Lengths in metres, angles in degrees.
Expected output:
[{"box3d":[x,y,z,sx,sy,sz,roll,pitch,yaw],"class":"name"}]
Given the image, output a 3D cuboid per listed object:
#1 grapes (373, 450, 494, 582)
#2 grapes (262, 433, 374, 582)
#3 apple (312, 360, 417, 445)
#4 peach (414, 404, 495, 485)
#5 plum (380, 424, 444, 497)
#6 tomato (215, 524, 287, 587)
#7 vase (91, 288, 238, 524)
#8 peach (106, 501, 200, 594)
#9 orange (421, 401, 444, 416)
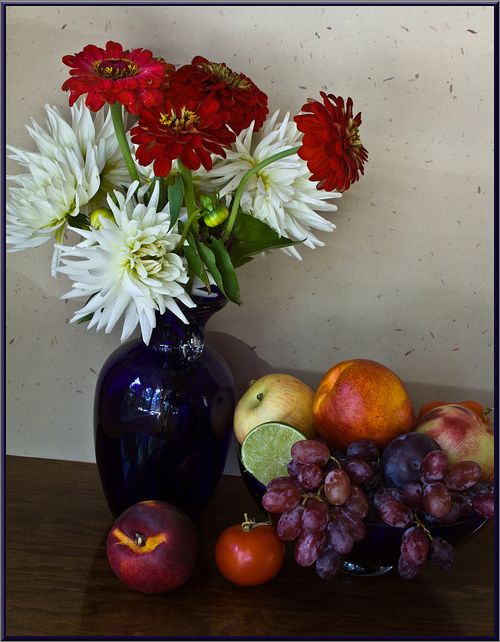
[{"box3d":[0.198,0.201,0.623,0.132,0.146,0.063,21,-9,26],"class":"grapes"},{"box3d":[0.073,0.207,0.653,0.117,0.108,0.105,9,23,11],"class":"grapes"},{"box3d":[0.136,0.102,0.760,0.118,0.099,0.133,-6,14,-25],"class":"apple"},{"box3d":[0.238,0.133,0.686,0.088,0.088,0.060,3,15,5],"class":"peach"},{"box3d":[0.172,0.154,0.649,0.059,0.069,0.060,-3,63,-2],"class":"plum"},{"box3d":[0.000,0.279,0.698,0.073,0.068,0.073,1,-5,-3],"class":"tomato"},{"box3d":[-0.101,0.111,0.729,0.148,0.313,0.144,2,14,-6],"class":"vase"},{"box3d":[-0.113,0.266,0.684,0.099,0.090,0.074,-6,25,-23],"class":"peach"},{"box3d":[0.252,0.121,0.818,0.024,0.026,0.018,24,50,-38],"class":"orange"}]
